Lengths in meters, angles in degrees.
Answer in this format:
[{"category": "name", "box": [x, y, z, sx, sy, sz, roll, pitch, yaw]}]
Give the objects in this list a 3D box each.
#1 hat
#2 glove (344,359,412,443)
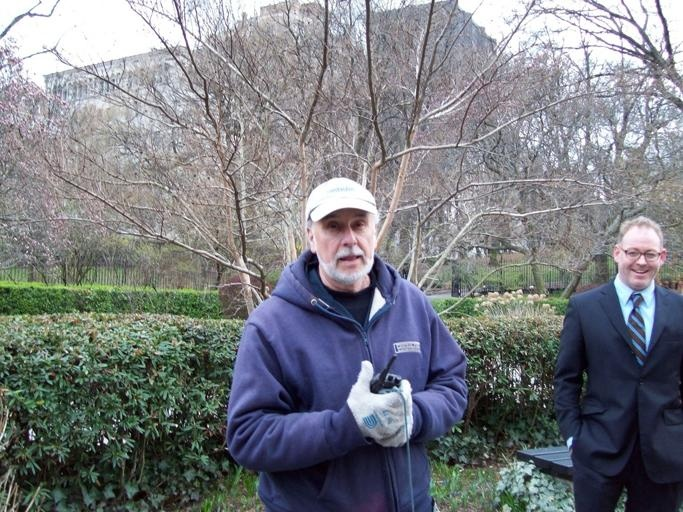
[{"category": "hat", "box": [-0.011, -0.376, 3.508, 0.418, 0.361, 0.617, -5, -6, -13]}, {"category": "glove", "box": [0.220, 0.863, 3.116, 0.289, 0.510, 0.221, -10, 1, -3]}]
